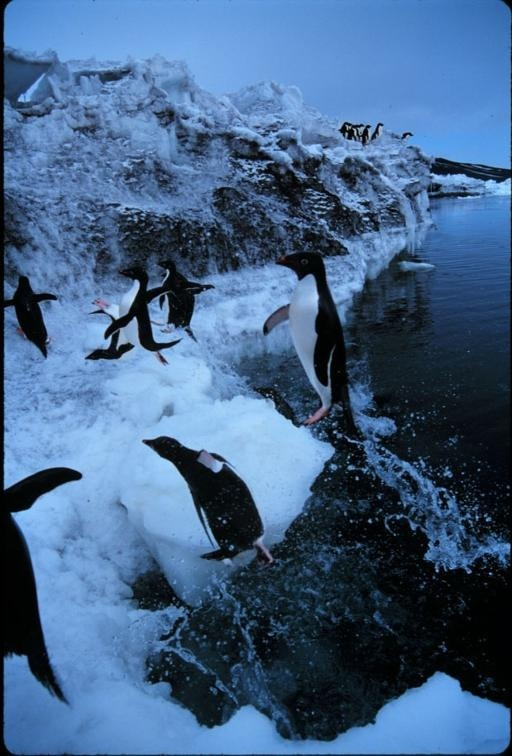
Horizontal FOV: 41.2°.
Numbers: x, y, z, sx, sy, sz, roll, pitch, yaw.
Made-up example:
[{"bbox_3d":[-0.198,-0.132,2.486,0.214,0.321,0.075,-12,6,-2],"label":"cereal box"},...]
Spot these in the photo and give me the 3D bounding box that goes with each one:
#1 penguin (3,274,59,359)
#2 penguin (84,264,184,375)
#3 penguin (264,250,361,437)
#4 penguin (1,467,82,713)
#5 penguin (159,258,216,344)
[{"bbox_3d":[-1.286,-0.355,3.873,0.341,0.459,0.193,-10,16,-20],"label":"penguin"},{"bbox_3d":[-0.724,-0.348,4.058,0.457,0.667,0.417,-11,26,-30],"label":"penguin"},{"bbox_3d":[0.257,-0.228,3.305,0.460,0.874,0.449,21,25,39],"label":"penguin"},{"bbox_3d":[-0.899,0.852,2.868,0.289,0.903,0.342,0,13,8],"label":"penguin"},{"bbox_3d":[-0.493,-0.490,4.329,0.268,0.499,0.290,4,23,-26],"label":"penguin"}]
